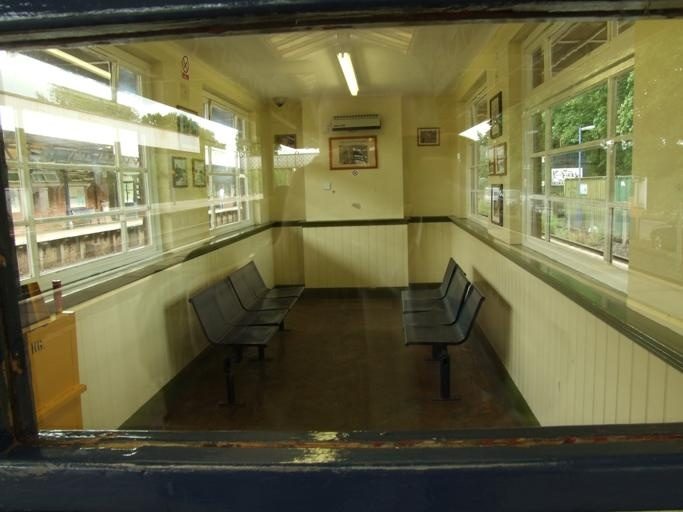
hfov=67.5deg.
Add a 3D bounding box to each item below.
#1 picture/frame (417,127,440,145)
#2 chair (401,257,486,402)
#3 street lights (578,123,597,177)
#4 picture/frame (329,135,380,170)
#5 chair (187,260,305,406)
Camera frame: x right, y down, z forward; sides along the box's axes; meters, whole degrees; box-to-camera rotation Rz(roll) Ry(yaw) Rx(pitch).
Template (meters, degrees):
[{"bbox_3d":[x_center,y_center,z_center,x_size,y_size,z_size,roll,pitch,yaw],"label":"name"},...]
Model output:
[{"bbox_3d":[0.233,-0.324,1.378,0.051,0.043,0.005,0,7,-3],"label":"picture/frame"},{"bbox_3d":[0.254,0.187,1.331,0.185,0.291,0.224,0,11,5],"label":"chair"},{"bbox_3d":[0.643,-0.296,1.362,0.031,0.112,0.054,0,11,5],"label":"street lights"},{"bbox_3d":[0.031,-0.290,1.398,0.096,0.067,0.004,-1,15,-6],"label":"picture/frame"},{"bbox_3d":[-0.251,0.216,1.353,0.115,0.155,0.321,-4,17,9],"label":"chair"}]
